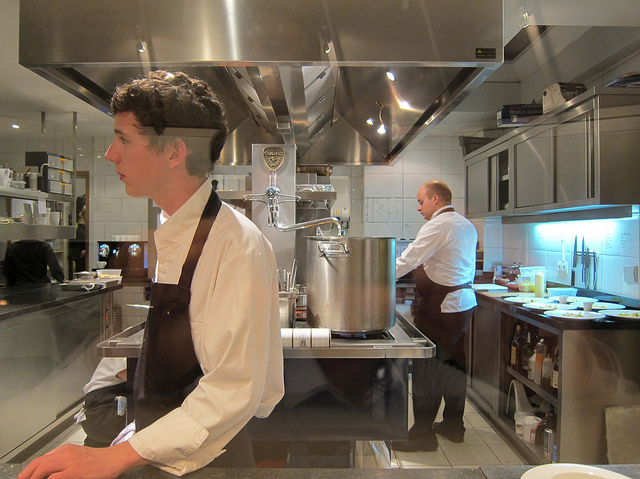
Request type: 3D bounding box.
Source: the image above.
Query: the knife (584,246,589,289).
[{"bbox_3d":[0.927,0.104,1.693,0.015,0.136,0.006,-1,2,-11],"label":"knife"}]

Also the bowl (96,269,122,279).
[{"bbox_3d":[-0.721,0.117,1.665,0.060,0.021,0.042,0,-4,-5],"label":"bowl"}]

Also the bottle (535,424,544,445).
[{"bbox_3d":[0.861,0.763,1.905,0.017,0.080,0.081,1,2,39],"label":"bottle"}]

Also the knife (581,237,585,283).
[{"bbox_3d":[0.915,0.079,1.695,0.009,0.142,0.009,1,3,43],"label":"knife"}]

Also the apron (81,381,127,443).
[{"bbox_3d":[-0.747,0.596,1.717,0.172,0.192,0.128,13,-13,-30],"label":"apron"}]

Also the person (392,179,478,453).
[{"bbox_3d":[0.417,0.271,1.778,0.318,0.967,0.164,-1,2,2],"label":"person"}]

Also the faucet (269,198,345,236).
[{"bbox_3d":[-0.051,-0.096,1.943,0.199,0.157,0.470,-2,2,-24],"label":"faucet"}]

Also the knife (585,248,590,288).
[{"bbox_3d":[0.928,0.095,1.689,0.013,0.123,0.009,0,2,30],"label":"knife"}]

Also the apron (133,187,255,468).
[{"bbox_3d":[-0.393,0.307,1.450,0.294,0.829,0.337,-4,5,-12],"label":"apron"}]

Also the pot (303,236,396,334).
[{"bbox_3d":[0.116,0.163,1.860,0.362,0.353,0.330,-1,-2,0],"label":"pot"}]

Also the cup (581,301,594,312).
[{"bbox_3d":[0.944,0.238,1.719,0.033,0.035,0.041,3,-5,-24],"label":"cup"}]

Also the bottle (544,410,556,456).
[{"bbox_3d":[0.892,0.744,1.890,0.038,0.137,0.075,0,2,26],"label":"bottle"}]

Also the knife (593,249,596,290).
[{"bbox_3d":[0.950,0.116,1.684,0.009,0.116,0.012,0,2,25],"label":"knife"}]

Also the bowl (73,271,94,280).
[{"bbox_3d":[-0.810,0.124,1.672,0.036,0.038,0.037,0,2,0],"label":"bowl"}]

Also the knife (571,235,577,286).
[{"bbox_3d":[0.888,0.077,1.700,0.019,0.165,0.006,0,2,11],"label":"knife"}]
